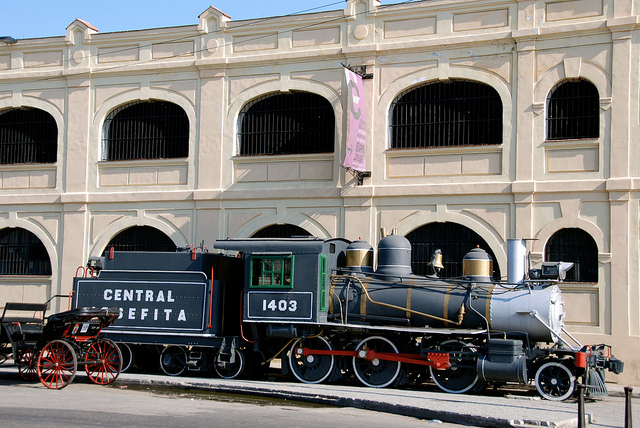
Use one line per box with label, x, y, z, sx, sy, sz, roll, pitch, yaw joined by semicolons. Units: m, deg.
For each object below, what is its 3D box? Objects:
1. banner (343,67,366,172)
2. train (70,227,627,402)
banner;1.149;-3.199;31.311;0.276;3.338;1.227;-4;-8;27
train;-0.527;3.046;28.942;17.657;4.725;4.428;0;-7;17
